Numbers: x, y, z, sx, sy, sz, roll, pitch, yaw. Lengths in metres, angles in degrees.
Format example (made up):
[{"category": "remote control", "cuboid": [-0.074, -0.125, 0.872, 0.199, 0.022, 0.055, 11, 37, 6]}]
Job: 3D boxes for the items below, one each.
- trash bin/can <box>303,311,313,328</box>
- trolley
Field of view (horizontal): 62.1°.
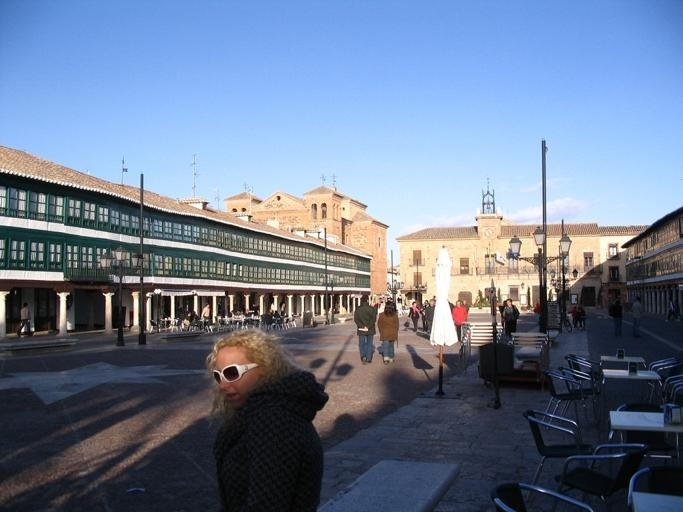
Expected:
[{"category": "trash bin/can", "cuboid": [-2.320, 4.955, 44.153, 0.847, 1.257, 1.004, 0, -1, 5]}, {"category": "trolley", "cuboid": [3.806, 2.697, 12.424, 1.446, 1.106, 1.501, 0, -2, 17]}]
